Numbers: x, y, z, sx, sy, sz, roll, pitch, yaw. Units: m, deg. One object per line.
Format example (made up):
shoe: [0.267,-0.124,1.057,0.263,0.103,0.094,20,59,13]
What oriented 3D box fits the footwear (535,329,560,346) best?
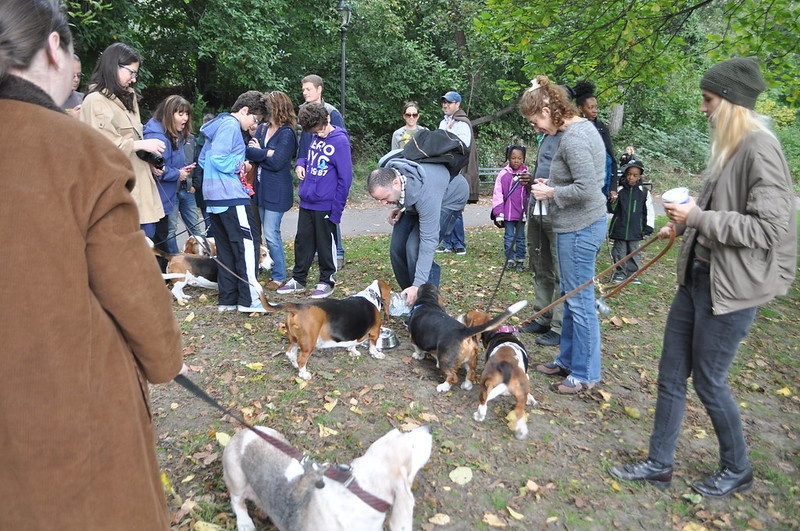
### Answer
footwear: [1.703,0.830,6.844,0.319,0.145,0.124,5,2,18]

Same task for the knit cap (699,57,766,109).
knit cap: [2.495,-1.378,4.463,0.424,0.376,0.236,6,19,18]

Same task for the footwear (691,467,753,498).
footwear: [2.587,1.734,4.757,0.539,0.241,0.193,-3,3,-4]

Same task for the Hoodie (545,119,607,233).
Hoodie: [1.765,-0.928,5.929,0.588,1.037,0.911,2,22,21]

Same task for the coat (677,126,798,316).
coat: [2.561,-0.316,4.427,0.804,1.323,0.488,8,20,23]

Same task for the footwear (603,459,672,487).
footwear: [1.988,1.691,4.990,0.539,0.229,0.198,9,2,9]

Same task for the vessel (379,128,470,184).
vessel: [0.386,-1.276,6.777,0.789,0.501,0.486,-2,18,-6]

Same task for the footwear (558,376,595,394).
footwear: [1.705,1.176,5.933,0.408,0.169,0.155,4,5,-3]

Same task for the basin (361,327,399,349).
basin: [-0.164,0.810,6.624,0.284,0.082,0.282,2,11,0]
